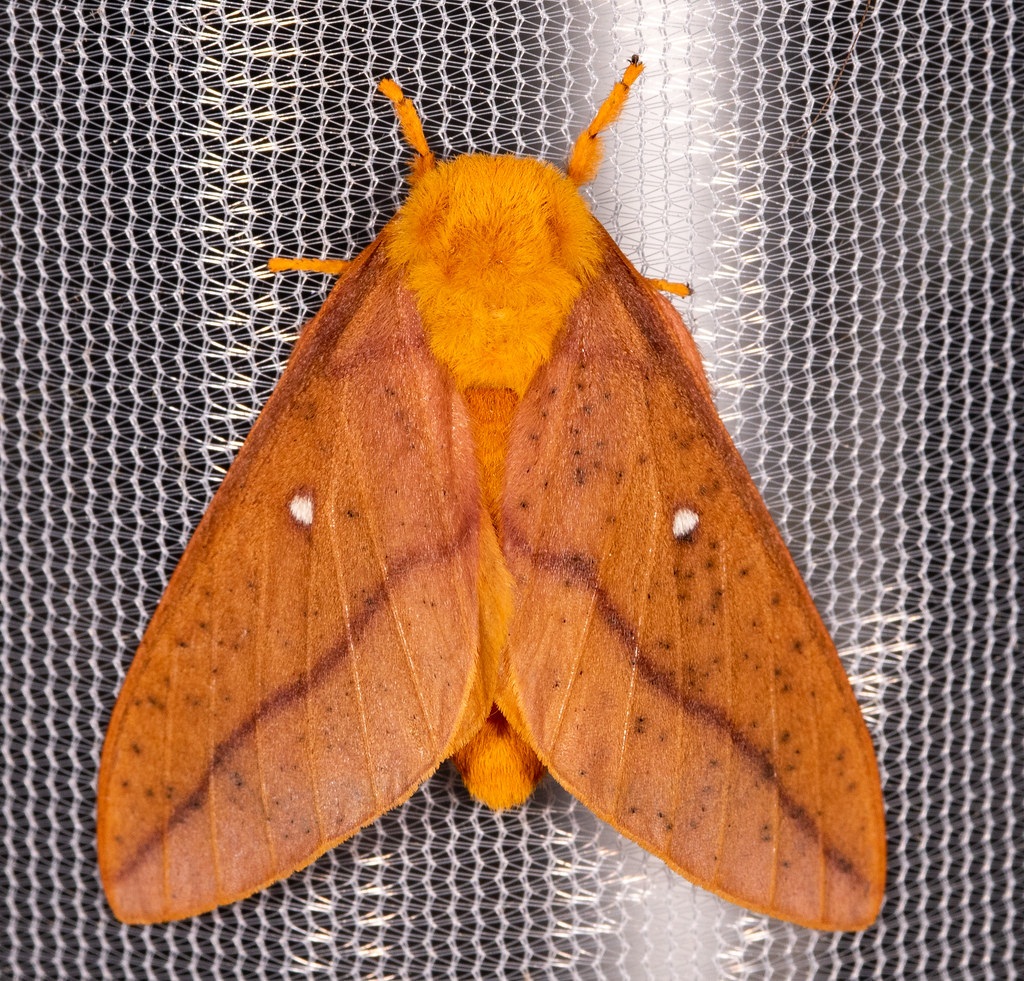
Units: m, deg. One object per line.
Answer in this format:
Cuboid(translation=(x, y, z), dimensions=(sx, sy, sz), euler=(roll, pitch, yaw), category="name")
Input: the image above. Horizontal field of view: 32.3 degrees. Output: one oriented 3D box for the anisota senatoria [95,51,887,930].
Cuboid(translation=(-0.037, 0.110, 2.606), dimensions=(1.552, 0.370, 1.264), euler=(0, 95, 4), category="anisota senatoria")
